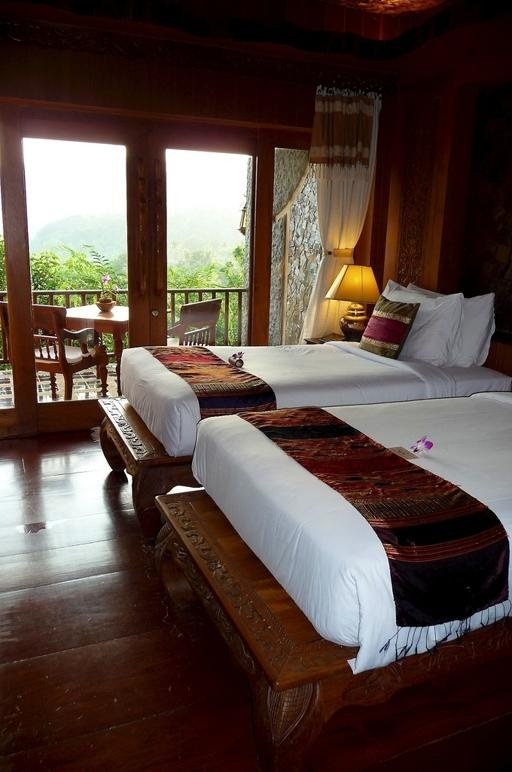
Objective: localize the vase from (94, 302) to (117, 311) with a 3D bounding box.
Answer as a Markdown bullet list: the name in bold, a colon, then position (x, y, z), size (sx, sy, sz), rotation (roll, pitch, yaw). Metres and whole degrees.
- **vase**: position (-1.119, -0.594, 3.842), size (0.080, 0.057, 0.080), rotation (8, 14, 39)

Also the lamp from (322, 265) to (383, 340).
- **lamp**: position (0.740, -0.640, 4.147), size (0.530, 0.715, 0.535), rotation (5, 9, 4)

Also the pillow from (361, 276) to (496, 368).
- **pillow**: position (1.115, -0.389, 3.259), size (0.533, 0.561, 0.182), rotation (8, -9, 33)

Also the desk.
- **desk**: position (-1.146, -0.268, 3.841), size (0.453, 0.588, 0.608), rotation (-5, 17, -14)

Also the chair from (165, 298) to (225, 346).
- **chair**: position (-0.541, -0.548, 4.285), size (0.377, 0.544, 0.367), rotation (-18, 36, -35)

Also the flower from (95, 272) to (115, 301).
- **flower**: position (-1.106, -0.727, 3.814), size (0.118, 0.197, 0.045), rotation (0, 6, -19)
